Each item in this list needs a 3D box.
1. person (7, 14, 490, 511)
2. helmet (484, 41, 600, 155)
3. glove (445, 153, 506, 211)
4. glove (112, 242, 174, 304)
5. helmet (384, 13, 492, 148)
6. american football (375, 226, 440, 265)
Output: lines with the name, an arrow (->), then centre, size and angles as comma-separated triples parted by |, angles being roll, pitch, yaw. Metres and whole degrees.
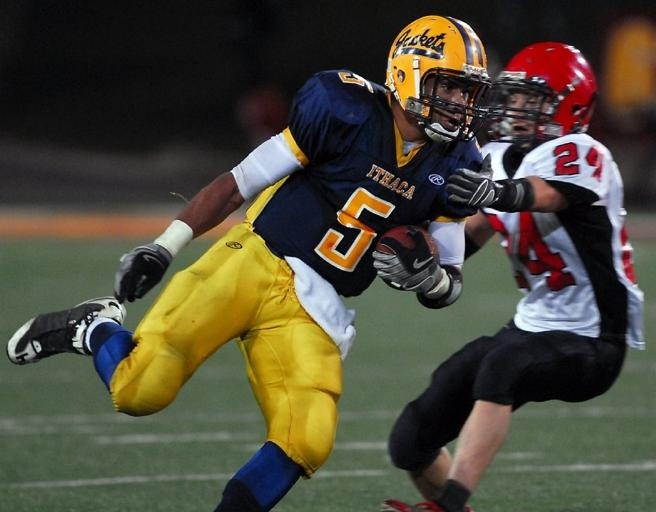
person -> -0.085, -0.014, 2.978 | 1.356, 1.767, 0.505 | -3, 7, -25
helmet -> 0.886, -0.676, 3.305 | 0.493, 0.386, 0.352 | -3, 17, -14
glove -> 0.507, -0.243, 2.854 | 0.072, 0.129, 0.190 | -6, 9, -43
glove -> -0.683, 0.057, 2.898 | 0.174, 0.232, 0.092 | 41, 8, -28
helmet -> 0.440, -0.710, 3.113 | 0.356, 0.439, 0.464 | 1, 23, -26
american football -> 0.288, 0.000, 2.974 | 0.238, 0.190, 0.171 | 5, -4, -28
